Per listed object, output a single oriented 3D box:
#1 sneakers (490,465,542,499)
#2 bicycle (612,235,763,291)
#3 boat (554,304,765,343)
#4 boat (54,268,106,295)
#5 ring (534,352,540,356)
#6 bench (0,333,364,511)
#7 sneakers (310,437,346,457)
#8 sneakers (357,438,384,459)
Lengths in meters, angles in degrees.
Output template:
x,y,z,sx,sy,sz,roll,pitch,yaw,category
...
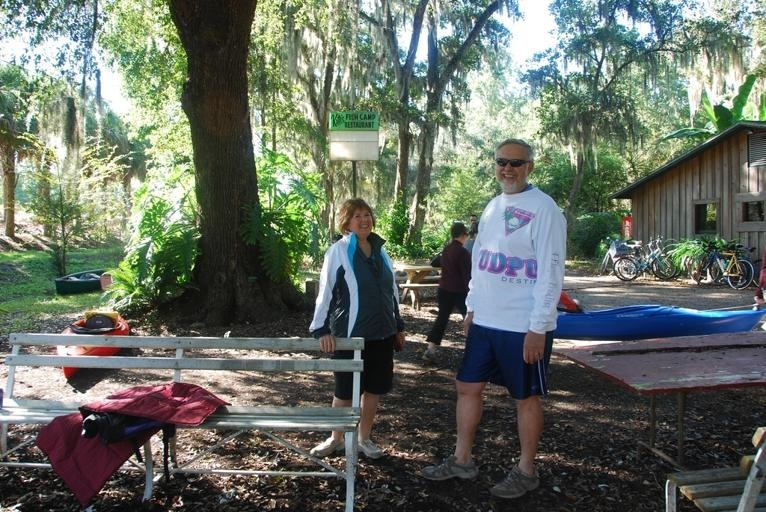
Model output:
x,y,z,sx,sy,sz,roll,pitch,yaw,category
1.398,2.391,7.070,0.591,0.275,0.226,-6,8,-27,sneakers
9.334,0.124,20.353,1.481,1.427,4.689,0,1,-28,bicycle
4.119,1.029,9.986,2.634,0.475,0.728,-4,-5,6,boat
-9.721,0.828,21.183,0.726,0.459,1.799,6,4,17,boat
1.579,1.006,6.813,0.047,0.039,0.007,1,2,5,ring
-2.123,1.714,7.764,3.907,1.736,2.146,1,2,5,bench
-0.618,2.173,7.576,0.442,0.190,0.166,0,-3,-20,sneakers
-0.116,2.205,7.565,0.352,0.152,0.142,8,14,39,sneakers
